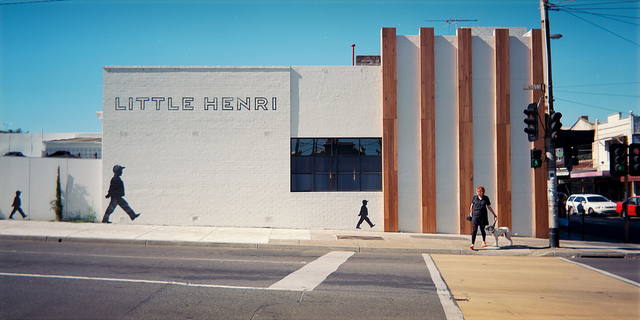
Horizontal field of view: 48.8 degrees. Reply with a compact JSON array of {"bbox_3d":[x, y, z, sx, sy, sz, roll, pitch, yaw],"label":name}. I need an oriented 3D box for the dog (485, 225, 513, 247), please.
[{"bbox_3d":[12.160,5.179,47.695,1.200,1.397,2.178,-2,-3,33],"label":"dog"}]

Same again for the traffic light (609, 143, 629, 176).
[{"bbox_3d":[19.469,0.026,46.228,1.127,2.053,0.536,-1,-2,20],"label":"traffic light"}]

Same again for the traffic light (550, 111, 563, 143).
[{"bbox_3d":[15.667,-2.213,47.406,0.698,2.112,0.641,-1,-2,16],"label":"traffic light"}]

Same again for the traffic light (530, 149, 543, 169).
[{"bbox_3d":[14.560,-0.082,47.844,0.711,1.240,0.463,0,-2,-1],"label":"traffic light"}]

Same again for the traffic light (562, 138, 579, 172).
[{"bbox_3d":[17.057,-0.408,48.166,1.388,2.075,1.363,2,15,21],"label":"traffic light"}]

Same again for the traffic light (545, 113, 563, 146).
[{"bbox_3d":[15.557,-2.009,47.520,0.436,2.121,1.131,1,-3,-41],"label":"traffic light"}]

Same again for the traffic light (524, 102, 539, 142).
[{"bbox_3d":[14.170,-2.541,47.766,0.864,2.526,0.974,-1,-2,14],"label":"traffic light"}]
